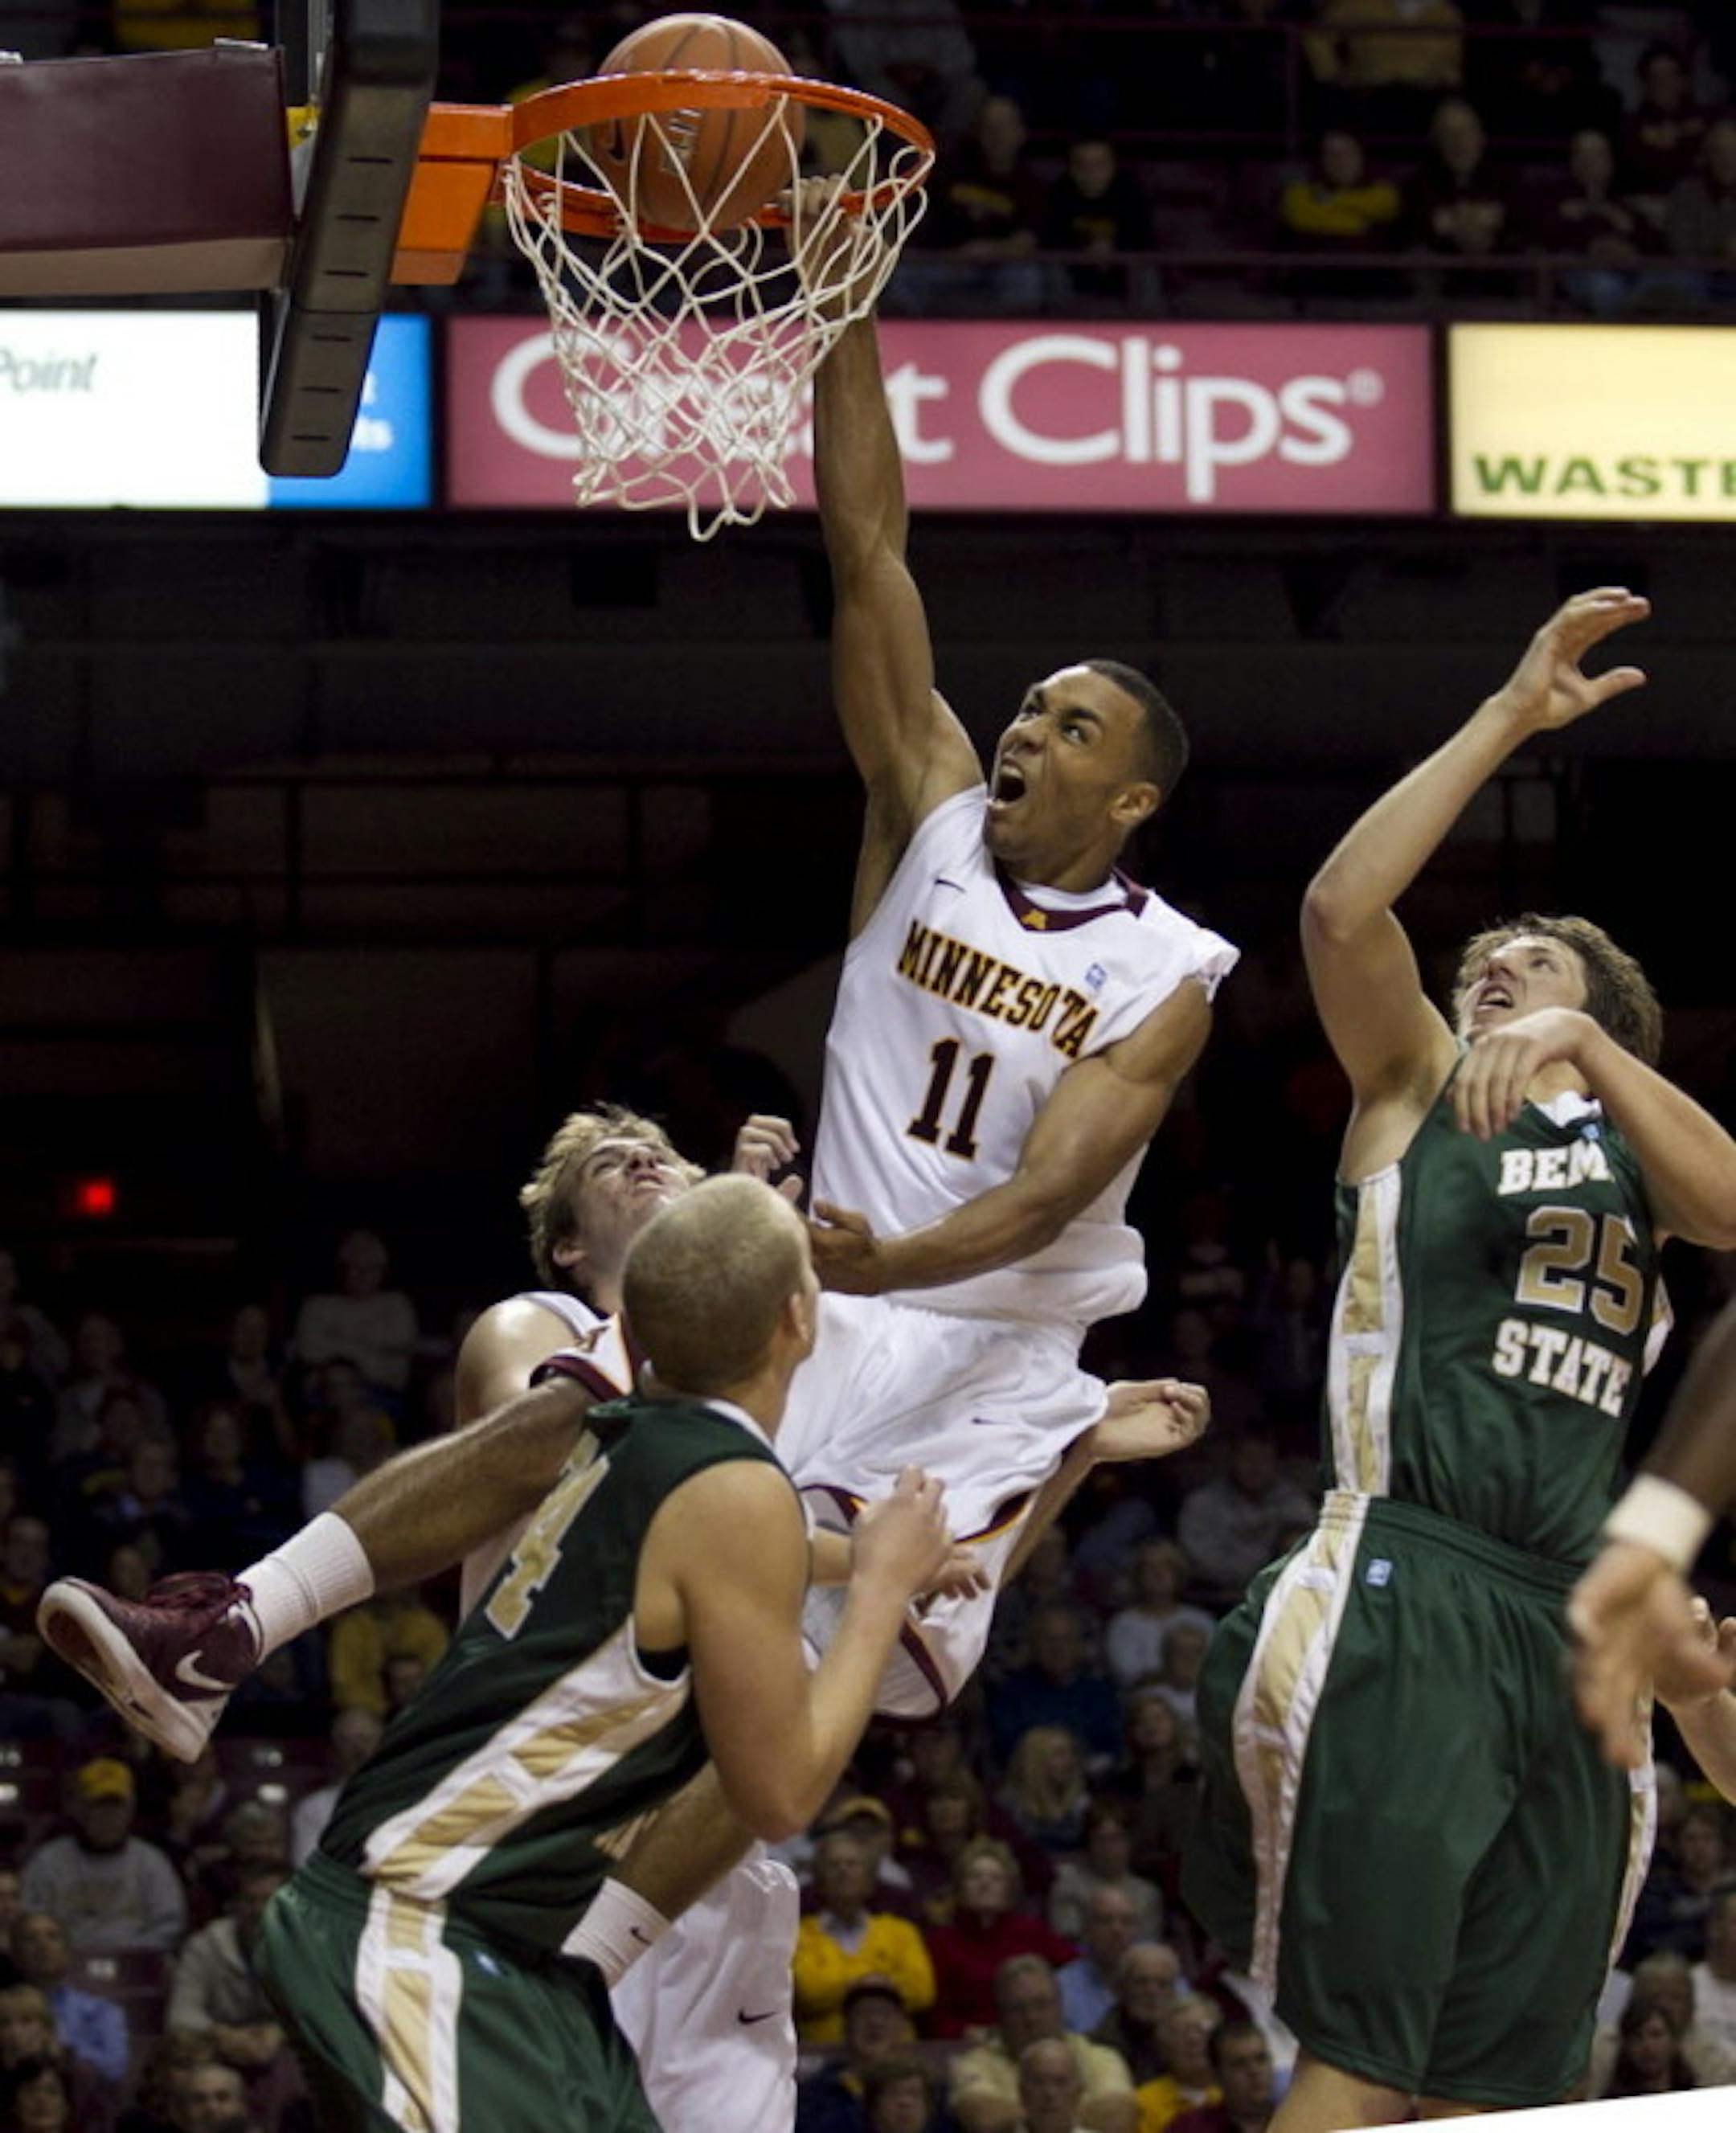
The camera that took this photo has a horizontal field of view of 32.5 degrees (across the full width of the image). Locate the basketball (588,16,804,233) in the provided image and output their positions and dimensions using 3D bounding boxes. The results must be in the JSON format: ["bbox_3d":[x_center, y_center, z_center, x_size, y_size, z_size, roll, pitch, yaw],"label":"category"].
[{"bbox_3d":[-0.263,-1.456,4.655,0.355,0.383,0.343,1,19,-7],"label":"basketball"}]
